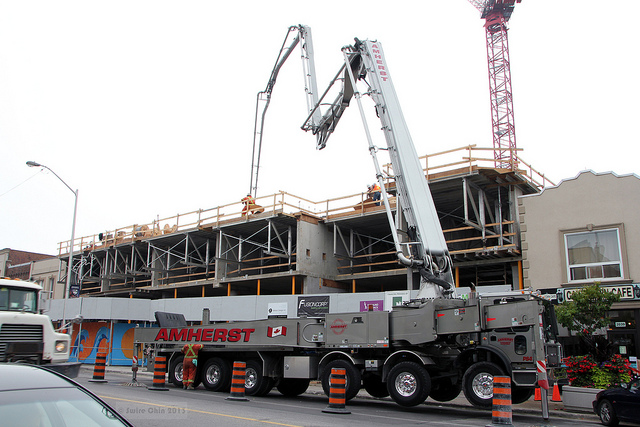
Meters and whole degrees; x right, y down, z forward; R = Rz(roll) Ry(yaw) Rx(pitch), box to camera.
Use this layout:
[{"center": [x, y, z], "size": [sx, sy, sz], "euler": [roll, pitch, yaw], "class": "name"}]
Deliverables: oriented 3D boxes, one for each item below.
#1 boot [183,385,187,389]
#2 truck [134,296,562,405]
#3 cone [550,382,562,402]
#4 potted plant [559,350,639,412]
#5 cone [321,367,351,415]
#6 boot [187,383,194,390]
[{"center": [-5.243, 6.773, 20.024], "size": [0.147, 0.214, 0.144], "euler": [1, -7, -17], "class": "boot"}, {"center": [-1.203, 4.605, 19.721], "size": [17.921, 3.727, 5.198], "euler": [-12, -18, 36], "class": "truck"}, {"center": [8.520, 6.538, 18.729], "size": [0.378, 0.668, 0.618], "euler": [-9, -9, 22], "class": "cone"}, {"center": [8.985, 5.506, 16.754], "size": [2.384, 1.872, 1.919], "euler": [13, -21, -33], "class": "potted plant"}, {"center": [0.488, 5.161, 15.146], "size": [0.888, 1.180, 0.813], "euler": [0, 2, 6], "class": "cone"}, {"center": [-4.991, 6.779, 20.065], "size": [0.303, 0.264, 0.145], "euler": [-6, -13, 28], "class": "boot"}]
